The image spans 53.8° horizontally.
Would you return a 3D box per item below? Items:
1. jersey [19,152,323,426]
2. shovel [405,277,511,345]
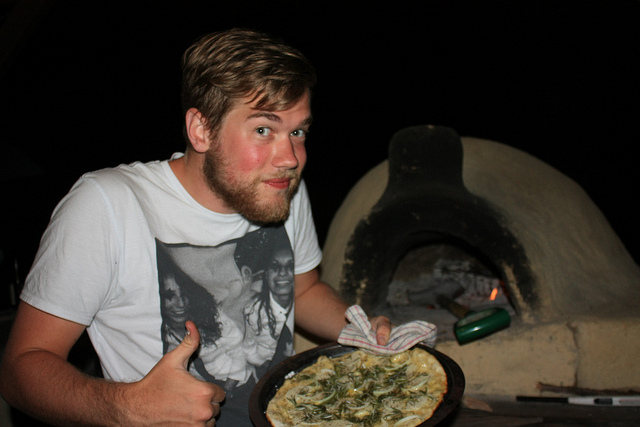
[{"bbox_3d":[-0.694,0.409,3.142,1.497,1.417,0.811,-8,17,-38],"label":"jersey"},{"bbox_3d":[0.917,0.639,4.122,0.281,0.095,0.702,-15,11,-11],"label":"shovel"}]
